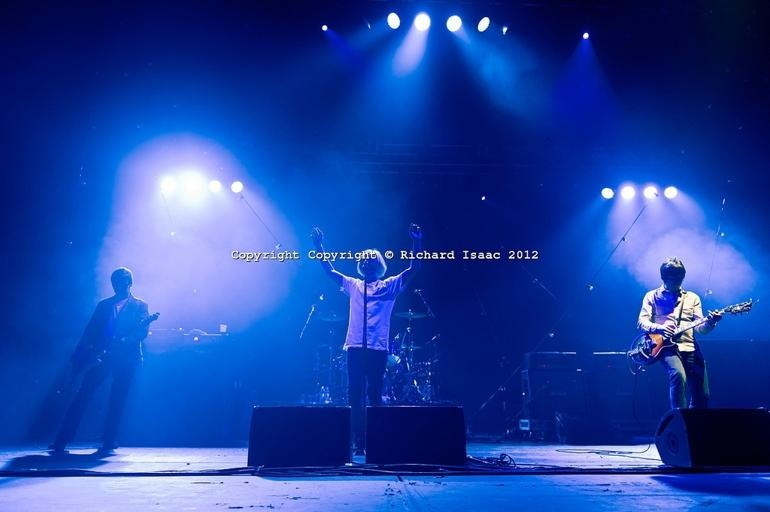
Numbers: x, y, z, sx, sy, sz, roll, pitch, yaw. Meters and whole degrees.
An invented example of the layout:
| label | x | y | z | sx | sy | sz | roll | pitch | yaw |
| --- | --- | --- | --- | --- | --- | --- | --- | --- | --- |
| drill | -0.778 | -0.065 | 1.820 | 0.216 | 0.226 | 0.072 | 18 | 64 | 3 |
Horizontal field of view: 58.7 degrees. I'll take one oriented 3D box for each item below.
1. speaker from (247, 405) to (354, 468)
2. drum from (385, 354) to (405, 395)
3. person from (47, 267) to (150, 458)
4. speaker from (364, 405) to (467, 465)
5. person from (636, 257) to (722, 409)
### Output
| label | x | y | z | sx | sy | sz | roll | pitch | yaw |
| --- | --- | --- | --- | --- | --- | --- | --- | --- | --- |
| speaker | -1.114 | 2.364 | 8.656 | 1.419 | 0.750 | 0.860 | 1 | -3 | -2 |
| drum | 0.144 | 2.144 | 12.465 | 0.461 | 0.849 | 0.198 | 6 | -12 | -3 |
| person | -4.297 | 1.653 | 10.602 | 1.515 | 2.789 | 0.805 | -8 | 12 | -34 |
| speaker | 0.365 | 2.482 | 9.732 | 1.396 | 0.740 | 0.673 | 0 | -10 | -2 |
| person | 4.180 | 1.090 | 9.860 | 0.825 | 1.984 | 0.932 | -4 | 10 | -13 |
